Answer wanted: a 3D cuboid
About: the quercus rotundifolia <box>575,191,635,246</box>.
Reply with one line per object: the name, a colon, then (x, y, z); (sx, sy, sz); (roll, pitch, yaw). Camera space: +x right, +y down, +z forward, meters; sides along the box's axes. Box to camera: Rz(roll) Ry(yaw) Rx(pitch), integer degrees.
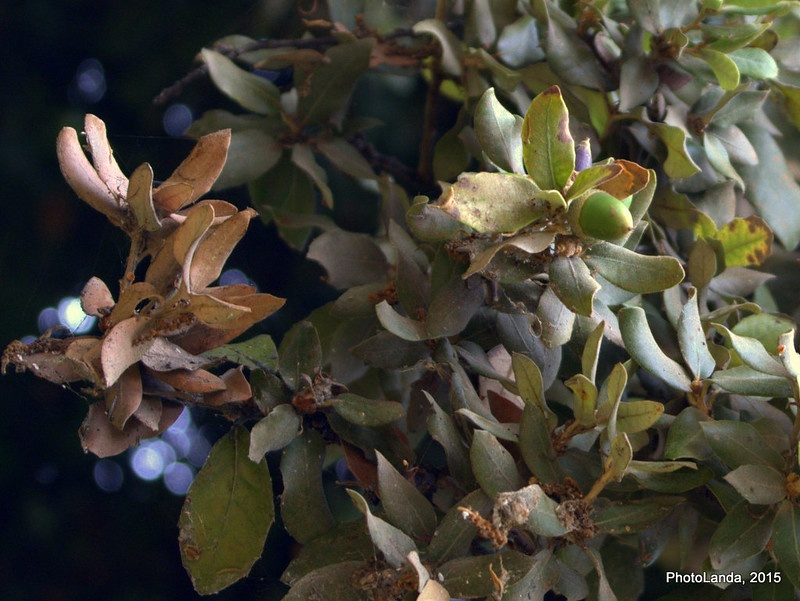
quercus rotundifolia: (0.185, -0.077, 1.627); (0.031, 0.035, 0.053); (-14, 27, -27)
